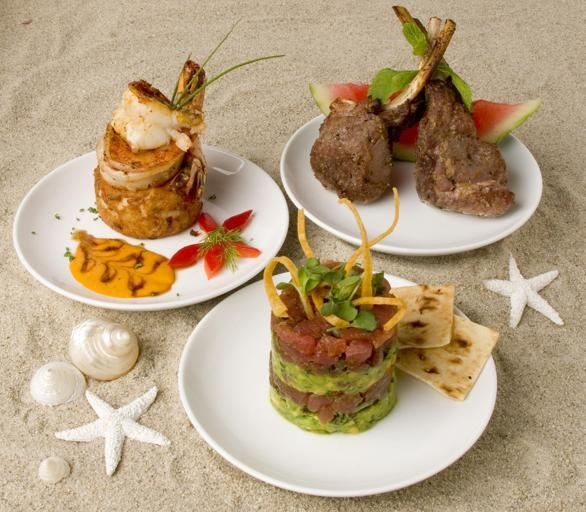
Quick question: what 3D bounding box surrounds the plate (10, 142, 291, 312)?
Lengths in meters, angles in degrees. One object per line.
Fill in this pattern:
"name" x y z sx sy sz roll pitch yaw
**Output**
"plate" -0.478 -0.134 2.294 0.898 0.438 0.722 -16 77 -3
